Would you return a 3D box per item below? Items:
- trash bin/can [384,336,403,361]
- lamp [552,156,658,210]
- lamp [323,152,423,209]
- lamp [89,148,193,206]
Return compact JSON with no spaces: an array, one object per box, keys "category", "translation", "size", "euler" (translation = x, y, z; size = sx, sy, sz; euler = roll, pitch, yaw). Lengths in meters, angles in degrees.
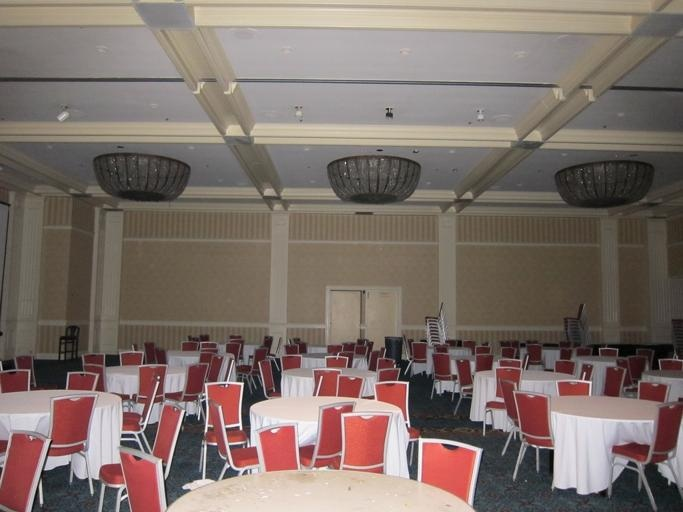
[{"category":"trash bin/can","translation":[1.353,2.320,13.704],"size":[0.647,0.793,0.660],"euler":[0,-2,4]},{"category":"lamp","translation":[5.189,-1.306,10.471],"size":[1.936,0.627,1.786],"euler":[0,-7,3]},{"category":"lamp","translation":[0.672,-1.455,10.912],"size":[2.101,0.645,1.939],"euler":[1,-2,0]},{"category":"lamp","translation":[-3.806,-1.528,10.157],"size":[1.713,0.871,0.630],"euler":[2,-3,-16]}]
